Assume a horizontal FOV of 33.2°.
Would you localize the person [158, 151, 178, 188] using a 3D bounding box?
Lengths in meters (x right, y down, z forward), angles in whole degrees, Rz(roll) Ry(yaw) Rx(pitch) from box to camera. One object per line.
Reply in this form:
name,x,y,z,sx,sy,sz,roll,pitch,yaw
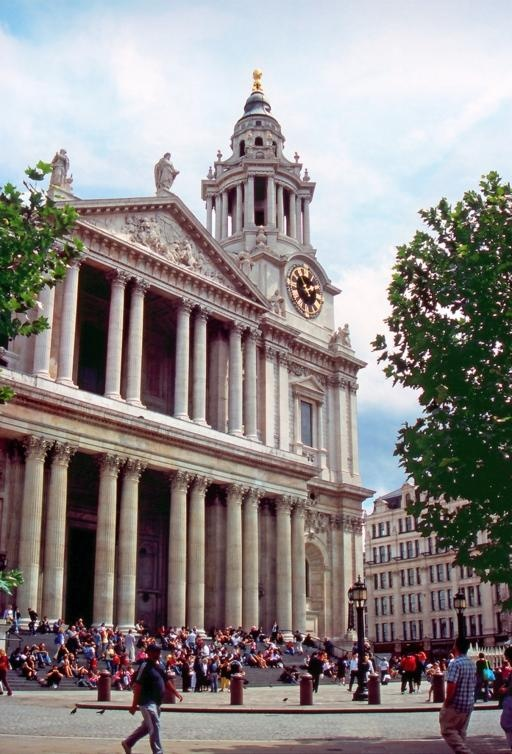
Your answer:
person,-5.009,-11.287,47.520,1.112,2.389,1.109,2,-13,-7
